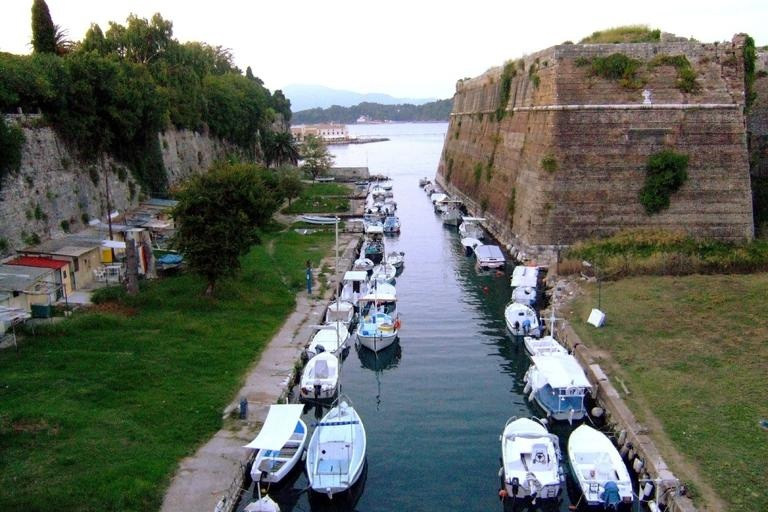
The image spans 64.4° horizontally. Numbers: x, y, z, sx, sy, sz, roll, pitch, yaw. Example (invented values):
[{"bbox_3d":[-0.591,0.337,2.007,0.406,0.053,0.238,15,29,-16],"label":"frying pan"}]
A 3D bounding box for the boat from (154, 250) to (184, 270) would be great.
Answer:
[{"bbox_3d":[-16.625,0.134,46.921,2.004,0.949,4.321,-8,14,-20],"label":"boat"}]

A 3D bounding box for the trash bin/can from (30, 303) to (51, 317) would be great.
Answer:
[{"bbox_3d":[-20.760,3.479,36.827,1.100,1.004,0.718,3,20,-14],"label":"trash bin/can"}]
